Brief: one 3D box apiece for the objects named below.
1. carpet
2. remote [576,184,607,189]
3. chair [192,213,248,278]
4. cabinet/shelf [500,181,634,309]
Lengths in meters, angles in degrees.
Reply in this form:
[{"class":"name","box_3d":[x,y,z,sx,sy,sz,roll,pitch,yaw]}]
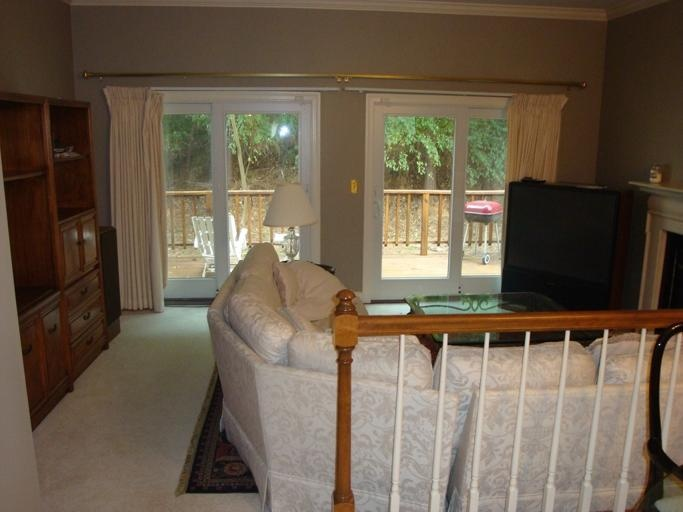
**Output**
[{"class":"carpet","box_3d":[-0.782,1.039,3.235,0.275,0.030,0.822,2,32,-4]},{"class":"remote","box_3d":[2.401,-0.657,5.202,0.109,0.040,0.196,1,0,7]},{"class":"chair","box_3d":[-1.396,-0.143,6.020,0.484,0.681,0.656,-2,4,-4]},{"class":"cabinet/shelf","box_3d":[2.274,-0.103,5.328,0.405,1.030,1.128,-1,11,-37]}]
